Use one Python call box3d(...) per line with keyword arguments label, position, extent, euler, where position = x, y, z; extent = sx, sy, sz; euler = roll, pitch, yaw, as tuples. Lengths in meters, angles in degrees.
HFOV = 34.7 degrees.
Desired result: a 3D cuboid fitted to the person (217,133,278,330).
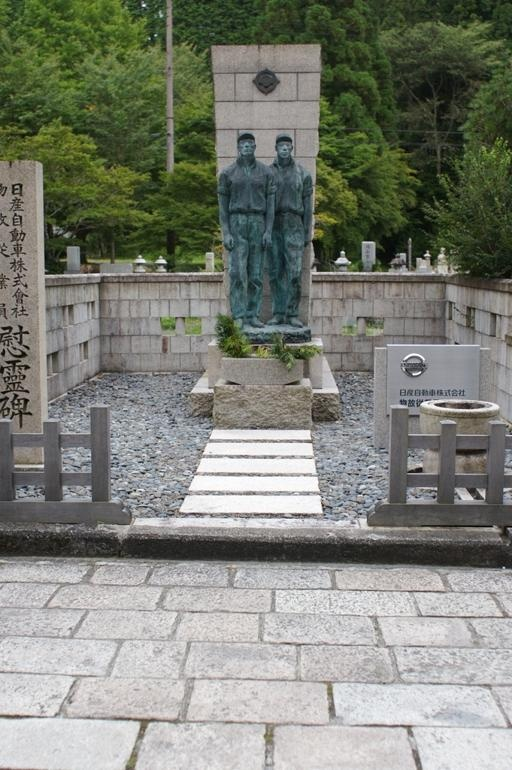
box3d(label="person", position=(-0.091, -1.462, 7.800), extent=(0.529, 1.797, 0.450), euler=(0, 9, -4))
